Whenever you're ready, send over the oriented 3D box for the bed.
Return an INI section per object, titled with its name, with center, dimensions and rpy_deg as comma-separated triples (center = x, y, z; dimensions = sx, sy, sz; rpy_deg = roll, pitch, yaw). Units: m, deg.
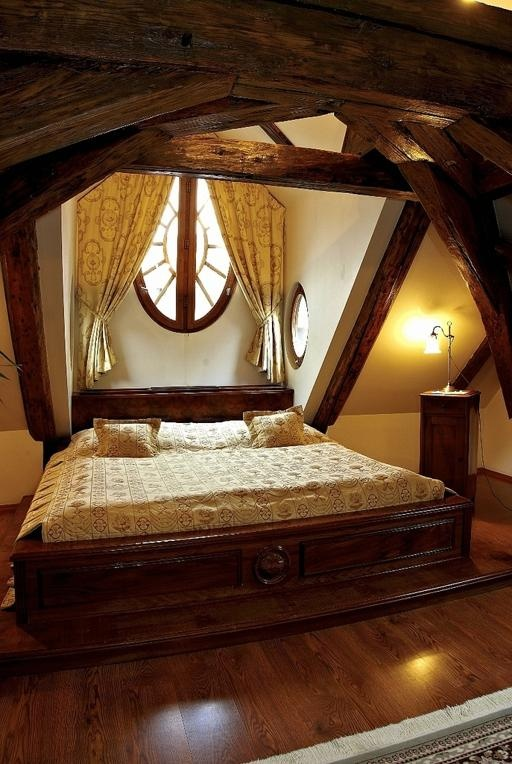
[bed]
center = -0.271, 0.622, 3.999
dimensions = 2.642, 0.911, 2.832
rpy_deg = -1, 3, -16
